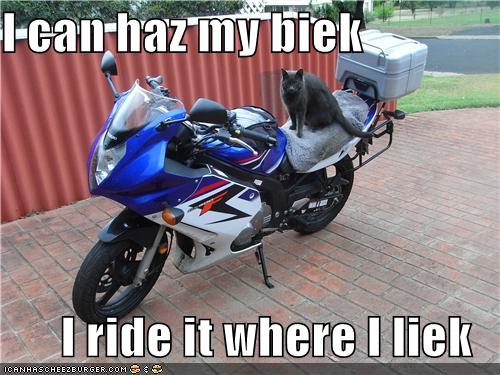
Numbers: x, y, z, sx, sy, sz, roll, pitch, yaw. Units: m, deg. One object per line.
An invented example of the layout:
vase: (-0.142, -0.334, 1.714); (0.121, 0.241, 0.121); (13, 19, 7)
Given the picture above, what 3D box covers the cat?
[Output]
cat: (0.725, -0.745, 3.755); (1.235, 0.481, 0.248); (12, 6, -29)
